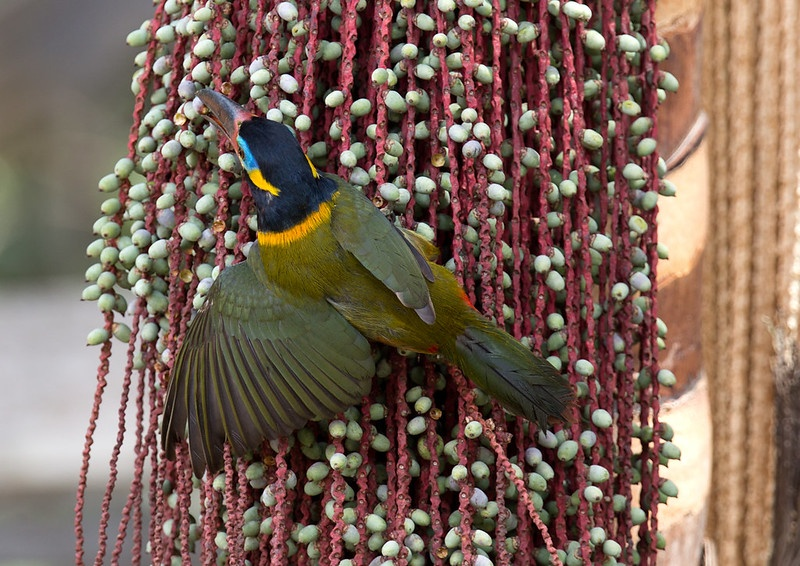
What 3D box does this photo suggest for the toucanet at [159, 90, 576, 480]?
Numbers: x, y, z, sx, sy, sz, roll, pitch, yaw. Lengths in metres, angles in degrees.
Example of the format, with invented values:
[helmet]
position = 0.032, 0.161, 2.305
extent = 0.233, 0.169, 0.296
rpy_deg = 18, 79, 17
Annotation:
[toucanet]
position = -0.061, 0.125, 2.846
extent = 0.514, 0.634, 0.271
rpy_deg = -48, 0, -3
